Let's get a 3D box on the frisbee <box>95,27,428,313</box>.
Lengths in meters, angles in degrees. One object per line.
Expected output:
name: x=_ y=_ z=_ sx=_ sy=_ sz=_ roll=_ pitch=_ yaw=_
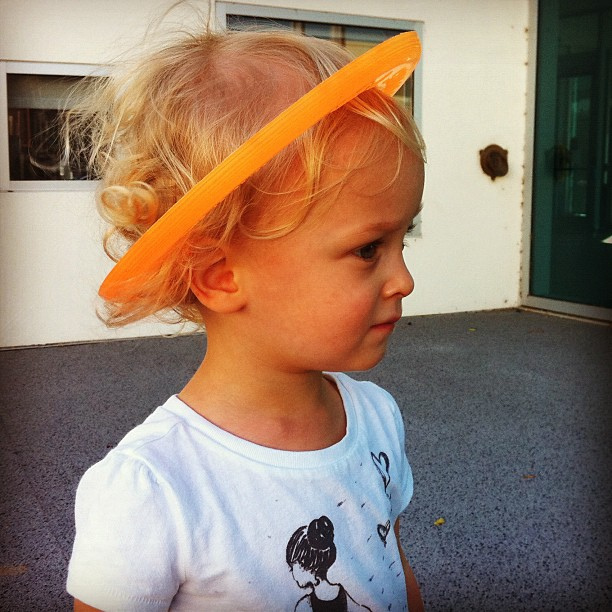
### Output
frisbee: x=-0.054 y=-0.193 z=1.065 sx=0.628 sy=0.382 sz=0.158 roll=-24 pitch=48 yaw=-16
